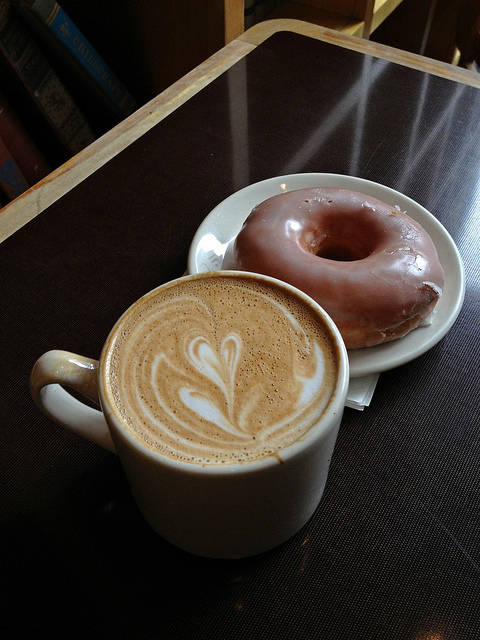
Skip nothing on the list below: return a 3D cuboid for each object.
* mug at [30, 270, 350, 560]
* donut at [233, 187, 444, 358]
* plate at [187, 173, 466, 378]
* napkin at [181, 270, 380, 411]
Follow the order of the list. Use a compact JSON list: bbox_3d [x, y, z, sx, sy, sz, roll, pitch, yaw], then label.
[{"bbox_3d":[-0.024,0.046,0.362,0.192,0.137,0.160,31,61,23],"label":"mug"},{"bbox_3d":[0.085,-0.064,0.505,0.163,0.067,0.164,-36,59,-26],"label":"donut"},{"bbox_3d":[0.128,-0.058,0.703,0.262,0.278,0.059,29,63,-4],"label":"plate"},{"bbox_3d":[0.024,0.013,0.355,0.103,0.063,0.088,-1,30,-2],"label":"napkin"}]
